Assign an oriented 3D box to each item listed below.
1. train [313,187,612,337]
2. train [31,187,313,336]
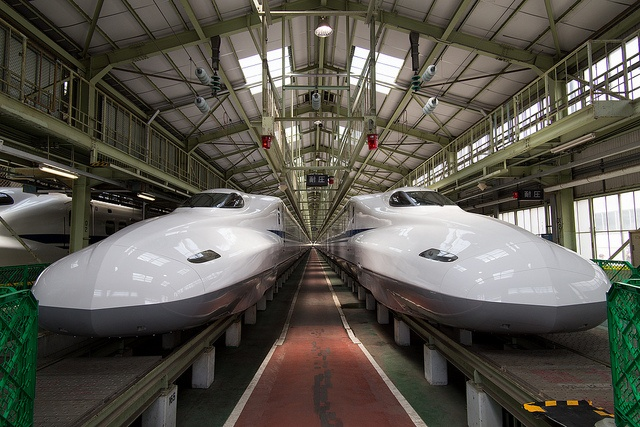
[{"bbox_3d":[1.895,0.887,8.319,1.939,1.697,6.429,0,-2,-14],"label":"train"},{"bbox_3d":[-2.229,0.758,6.980,1.851,1.789,6.101,-2,1,20],"label":"train"}]
